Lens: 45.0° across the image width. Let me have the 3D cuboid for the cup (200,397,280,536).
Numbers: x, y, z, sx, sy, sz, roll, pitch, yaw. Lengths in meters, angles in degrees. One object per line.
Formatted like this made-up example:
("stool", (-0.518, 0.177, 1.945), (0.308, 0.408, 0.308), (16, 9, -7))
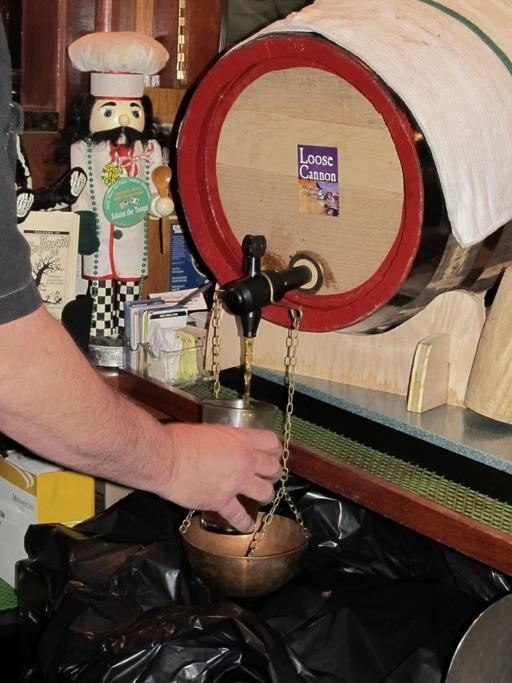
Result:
("cup", (-0.028, 0.151, 0.789), (0.111, 0.158, 0.107), (2, 5, 0))

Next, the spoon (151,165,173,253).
("spoon", (-0.206, -0.304, 1.417), (0.057, 0.191, 0.041), (-1, 18, 0))

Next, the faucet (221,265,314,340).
("faucet", (0.015, -0.059, 0.755), (0.044, 0.084, 0.170), (9, 19, 27))

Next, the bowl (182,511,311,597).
("bowl", (-0.011, 0.265, 0.721), (0.133, 0.067, 0.129), (-1, -5, 0))
